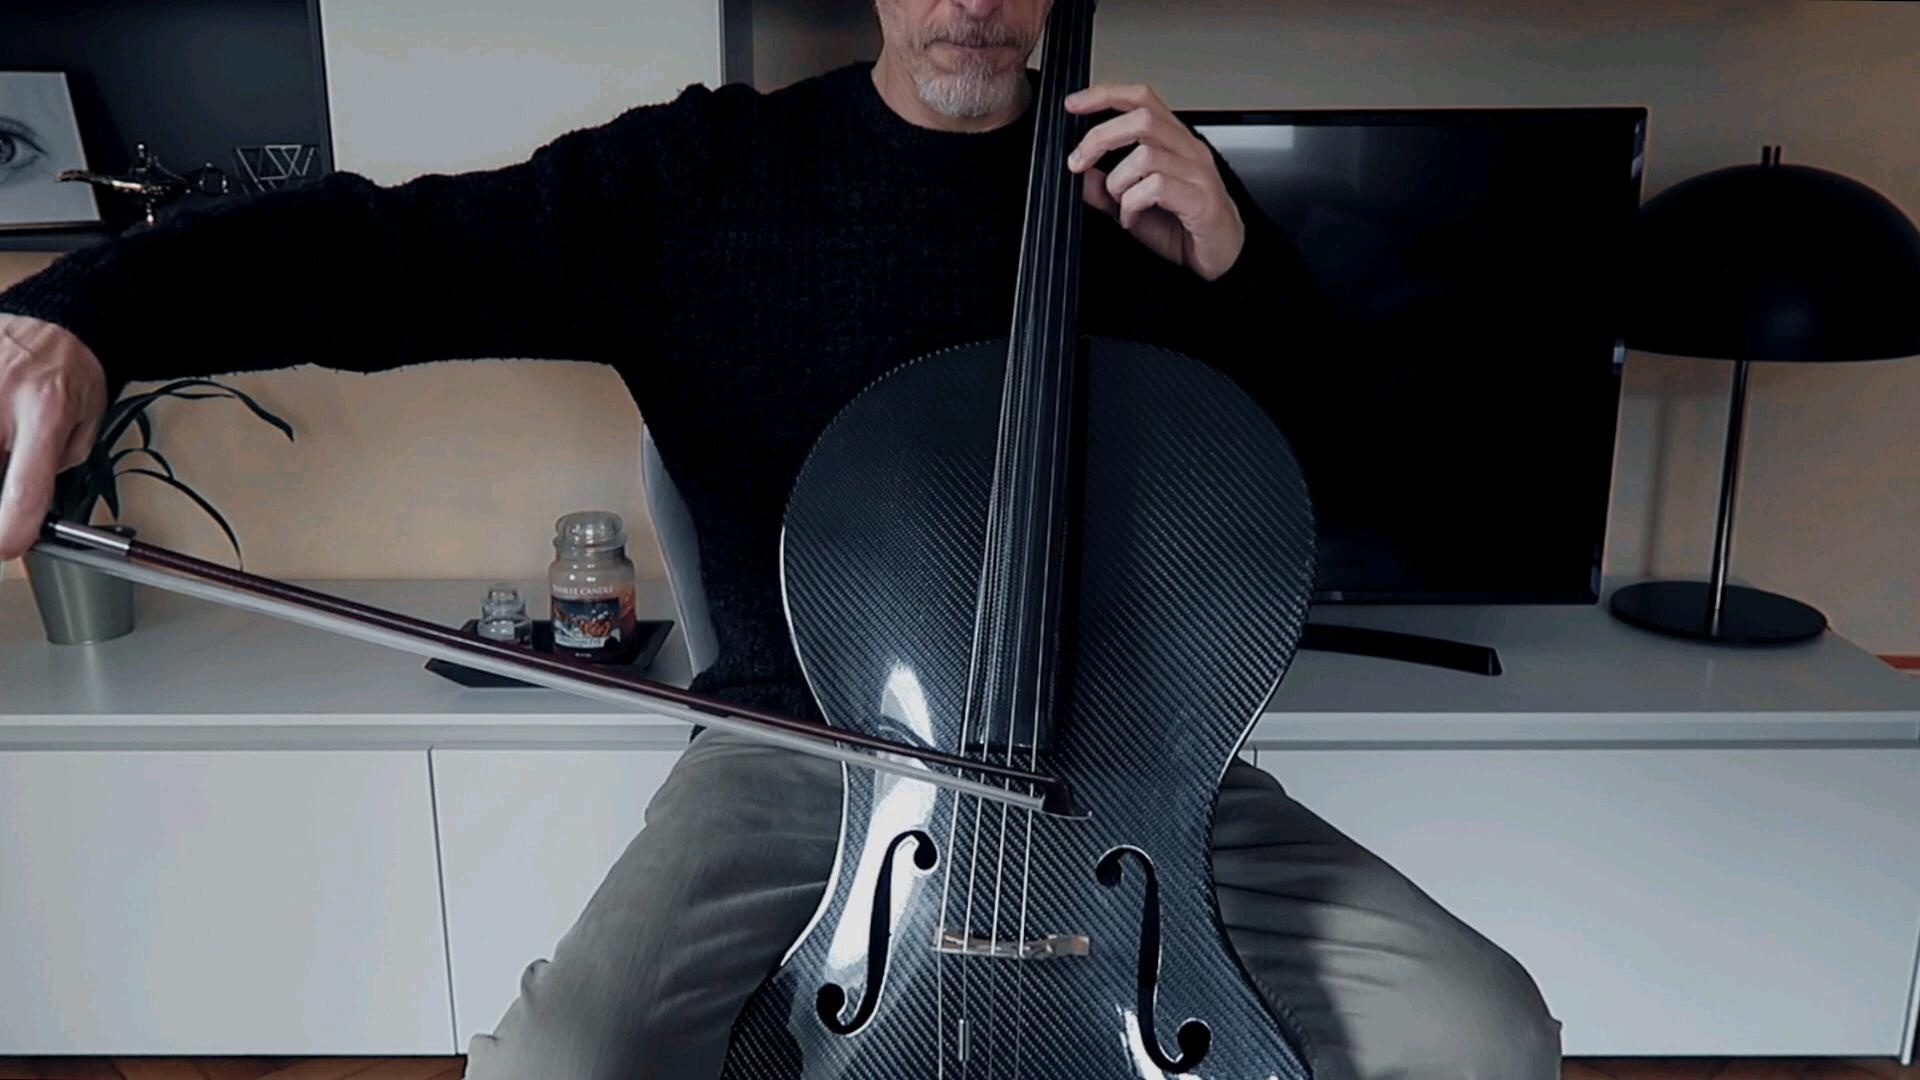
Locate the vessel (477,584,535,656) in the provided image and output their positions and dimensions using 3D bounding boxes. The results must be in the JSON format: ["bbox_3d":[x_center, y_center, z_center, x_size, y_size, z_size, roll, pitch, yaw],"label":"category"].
[{"bbox_3d":[-0.783,0.137,2.858,0.105,0.095,0.101,0,6,-5],"label":"vessel"}]

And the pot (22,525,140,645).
[{"bbox_3d":[-1.434,0.075,2.712,0.222,0.167,0.200,0,11,4],"label":"pot"}]
